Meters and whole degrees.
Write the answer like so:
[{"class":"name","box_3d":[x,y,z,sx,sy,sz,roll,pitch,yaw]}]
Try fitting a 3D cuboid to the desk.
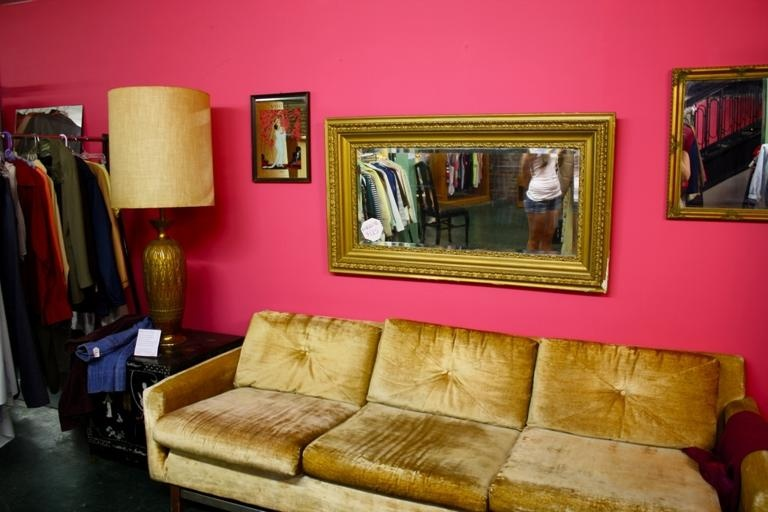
[{"class":"desk","box_3d":[-1.483,0.866,4.201,0.780,0.815,0.792,1,5,20]}]
